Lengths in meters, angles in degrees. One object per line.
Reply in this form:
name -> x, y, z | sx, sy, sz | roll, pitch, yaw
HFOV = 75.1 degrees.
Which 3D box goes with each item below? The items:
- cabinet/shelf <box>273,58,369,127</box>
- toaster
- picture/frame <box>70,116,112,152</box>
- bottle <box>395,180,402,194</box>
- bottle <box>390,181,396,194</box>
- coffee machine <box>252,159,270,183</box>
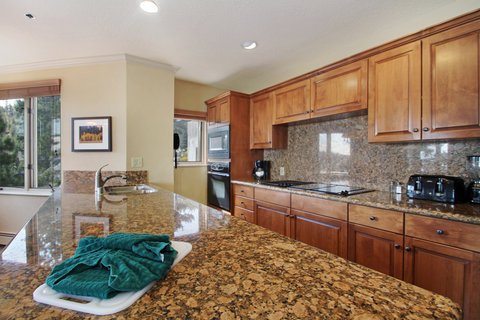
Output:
cabinet/shelf -> 0.998, -0.749, 3.912 | 0.331, 0.566, 1.633 | 3, -2, -29
toaster -> 1.877, 0.265, 3.011 | 0.279, 0.233, 0.384 | -3, 6, -36
picture/frame -> -1.929, -0.333, 4.089 | 0.495, 0.403, 0.022 | 1, -5, 3
bottle -> 1.709, 0.288, 3.330 | 0.074, 0.114, 0.083 | 7, 13, 31
bottle -> 1.642, 0.286, 3.340 | 0.054, 0.114, 0.086 | 2, 11, 6
coffee machine -> 0.343, 0.144, 4.490 | 0.284, 0.268, 0.258 | 1, 0, -10
